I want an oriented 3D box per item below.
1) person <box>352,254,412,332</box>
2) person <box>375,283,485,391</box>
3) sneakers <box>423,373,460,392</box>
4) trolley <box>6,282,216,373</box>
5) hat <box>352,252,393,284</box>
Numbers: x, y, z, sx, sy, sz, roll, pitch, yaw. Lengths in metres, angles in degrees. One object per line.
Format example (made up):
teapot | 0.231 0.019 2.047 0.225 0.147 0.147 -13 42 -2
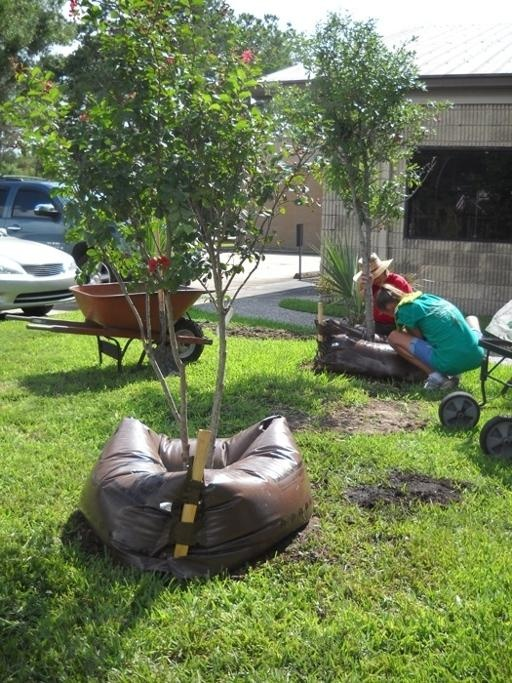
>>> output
person | 1.464 -0.511 7.027 0.582 0.843 0.582 -7 -9 17
person | 1.611 -0.044 5.750 1.089 0.759 0.951 9 24 27
sneakers | 1.655 0.372 5.520 0.310 0.171 0.143 1 3 5
trolley | -1.362 -0.229 6.119 2.170 0.836 1.017 -7 17 -29
hat | 1.354 -0.871 7.150 0.356 0.311 0.899 4 12 12
